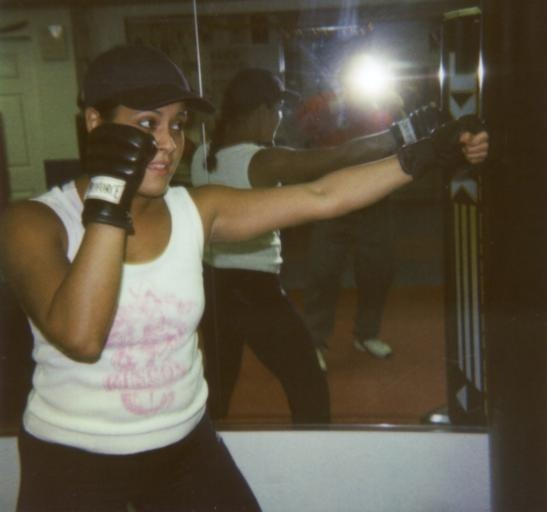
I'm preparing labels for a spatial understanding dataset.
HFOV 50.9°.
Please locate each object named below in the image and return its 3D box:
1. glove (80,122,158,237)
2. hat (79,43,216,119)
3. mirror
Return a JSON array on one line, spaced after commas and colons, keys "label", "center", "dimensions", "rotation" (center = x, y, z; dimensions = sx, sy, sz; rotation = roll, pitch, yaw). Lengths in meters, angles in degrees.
[{"label": "glove", "center": [-0.270, -0.136, 0.991], "dimensions": [0.128, 0.176, 0.124], "rotation": [-2, 15, -6]}, {"label": "hat", "center": [-0.247, -0.326, 1.096], "dimensions": [0.173, 0.094, 0.134], "rotation": [5, 15, 20]}, {"label": "mirror", "center": [-0.079, -0.144, 1.590], "dimensions": [1.027, 1.445, 0.279], "rotation": [19, 10, 29]}]
